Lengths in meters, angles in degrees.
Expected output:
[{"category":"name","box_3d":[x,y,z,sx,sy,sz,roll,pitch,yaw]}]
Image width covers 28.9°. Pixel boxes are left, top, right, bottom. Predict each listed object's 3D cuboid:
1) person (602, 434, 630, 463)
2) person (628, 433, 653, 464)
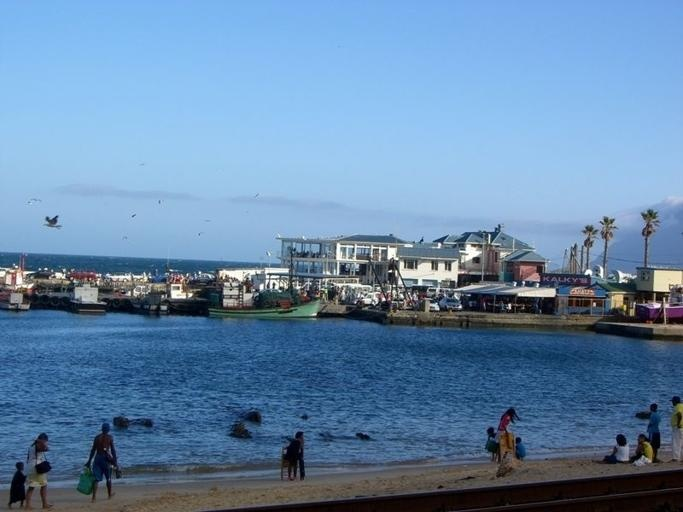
[{"category":"person","box_3d":[12.799,8.840,61.047,1.108,1.302,0.669,-1,14,10]},{"category":"person","box_3d":[13.946,8.883,60.906,0.949,1.173,1.240,4,15,30]}]
